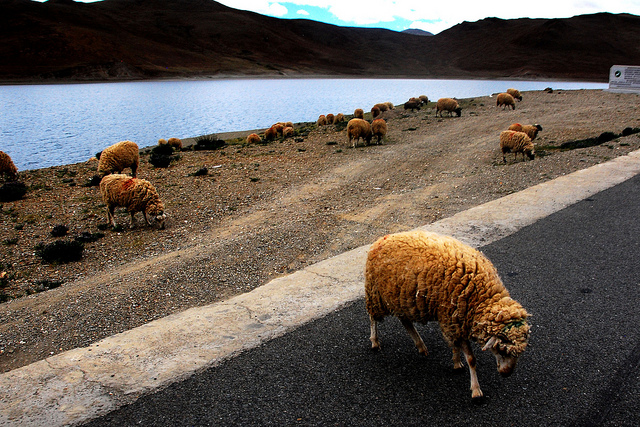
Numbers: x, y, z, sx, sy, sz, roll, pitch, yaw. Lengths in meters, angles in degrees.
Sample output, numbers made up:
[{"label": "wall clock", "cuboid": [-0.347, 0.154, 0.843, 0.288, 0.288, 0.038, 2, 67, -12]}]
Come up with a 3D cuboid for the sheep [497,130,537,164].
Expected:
[{"label": "sheep", "cuboid": [8.732, -2.876, 21.645, 0.690, 1.337, 1.915, -20, 29, -21]}]

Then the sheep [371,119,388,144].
[{"label": "sheep", "cuboid": [3.601, -4.926, 29.862, 0.870, 1.401, 1.022, -2, 22, 5]}]

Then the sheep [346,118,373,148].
[{"label": "sheep", "cuboid": [2.449, -4.782, 29.613, 1.188, 1.544, 2.746, -2, 6, 35]}]
